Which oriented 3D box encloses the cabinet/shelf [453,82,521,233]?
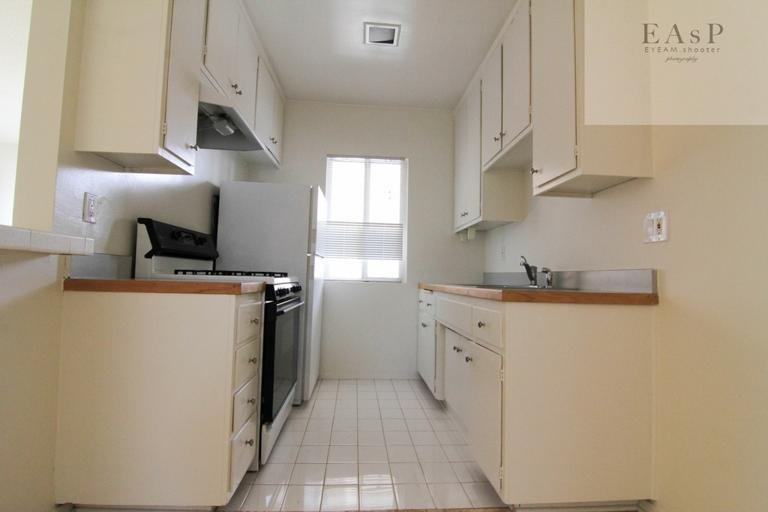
[{"bbox_3d":[0.844,-0.797,4.458,0.413,1.184,1.278,1,-1,-7],"label":"cabinet/shelf"}]

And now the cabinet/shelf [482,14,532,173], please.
[{"bbox_3d":[0.925,-1.204,4.014,0.288,1.110,0.914,-2,8,-1],"label":"cabinet/shelf"}]

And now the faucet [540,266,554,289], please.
[{"bbox_3d":[1.158,0.137,3.854,0.135,0.168,0.097,-1,-1,11],"label":"faucet"}]

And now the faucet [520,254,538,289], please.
[{"bbox_3d":[1.060,0.107,4.013,0.109,0.227,0.243,1,8,14],"label":"faucet"}]

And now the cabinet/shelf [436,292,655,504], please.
[{"bbox_3d":[0.948,0.791,3.508,0.946,1.129,1.679,1,-6,0],"label":"cabinet/shelf"}]

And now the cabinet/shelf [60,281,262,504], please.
[{"bbox_3d":[-1.286,0.725,3.533,1.020,1.331,1.388,0,-3,-9],"label":"cabinet/shelf"}]
